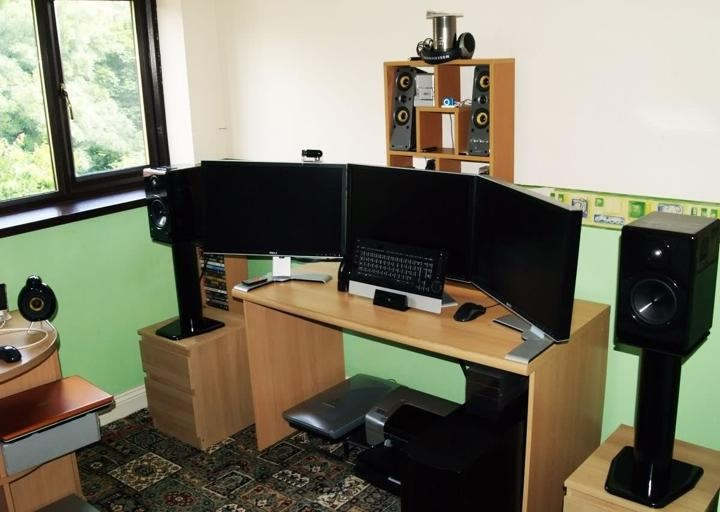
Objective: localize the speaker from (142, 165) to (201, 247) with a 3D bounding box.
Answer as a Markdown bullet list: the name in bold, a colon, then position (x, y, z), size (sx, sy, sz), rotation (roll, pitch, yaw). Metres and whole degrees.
- **speaker**: position (-1.078, -0.293, 3.203), size (0.305, 0.435, 0.159), rotation (-6, 18, -19)

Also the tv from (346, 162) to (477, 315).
- **tv**: position (0.260, -0.072, 2.727), size (0.626, 0.598, 0.319), rotation (10, 19, 30)

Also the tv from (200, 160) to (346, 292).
- **tv**: position (-0.456, -0.188, 3.008), size (0.770, 0.646, 0.277), rotation (2, 15, 5)

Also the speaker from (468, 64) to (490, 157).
- **speaker**: position (0.599, -0.708, 2.703), size (0.115, 0.428, 0.077), rotation (8, 19, 23)

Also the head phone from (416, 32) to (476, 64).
- **head phone**: position (0.447, -1.027, 2.734), size (0.183, 0.097, 0.224), rotation (19, 46, 39)

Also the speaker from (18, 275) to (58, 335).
- **speaker**: position (-1.591, 0.209, 2.702), size (0.149, 0.202, 0.090), rotation (-3, 18, -11)

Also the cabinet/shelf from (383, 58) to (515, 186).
- **cabinet/shelf**: position (0.463, -0.693, 2.800), size (0.654, 0.612, 0.234), rotation (9, 18, 31)
